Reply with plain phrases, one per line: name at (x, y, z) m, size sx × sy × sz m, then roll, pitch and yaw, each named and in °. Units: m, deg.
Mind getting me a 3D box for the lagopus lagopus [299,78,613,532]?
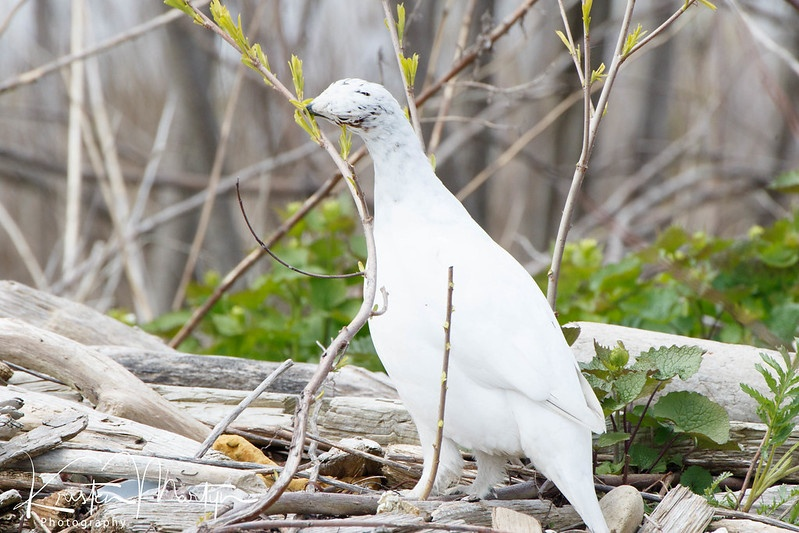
lagopus lagopus at (0.203, 0.106, 3.685) m, size 0.944 × 1.435 × 0.242 m, roll 0°, pitch 2°, yaw 10°
